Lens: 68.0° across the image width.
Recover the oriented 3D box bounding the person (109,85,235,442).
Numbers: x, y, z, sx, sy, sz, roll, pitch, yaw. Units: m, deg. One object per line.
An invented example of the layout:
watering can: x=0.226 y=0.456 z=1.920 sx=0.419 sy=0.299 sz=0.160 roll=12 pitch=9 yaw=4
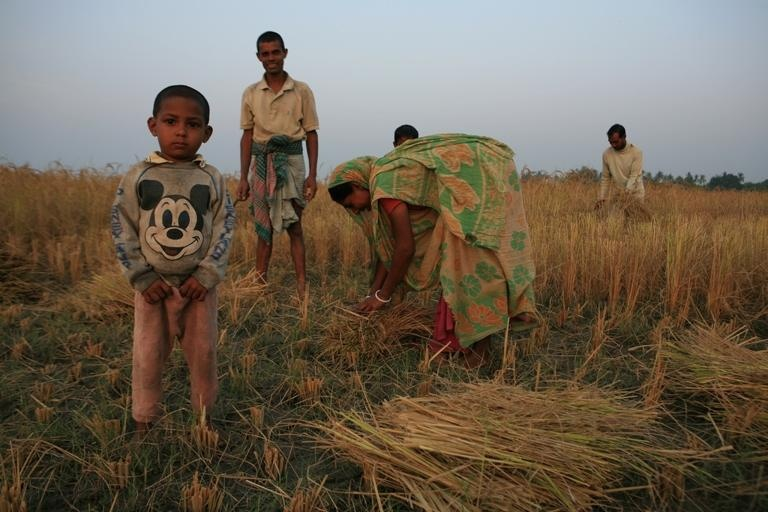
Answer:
person: x=-1.434 y=0.025 z=3.926 sx=0.779 sy=2.324 sz=0.301 roll=-1 pitch=5 yaw=-16

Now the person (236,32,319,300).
person: x=-1.139 y=-0.943 z=6.135 sx=0.851 sy=2.691 sz=0.653 roll=-1 pitch=5 yaw=-13

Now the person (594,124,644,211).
person: x=3.631 y=-1.371 z=8.705 sx=0.649 sy=1.258 sz=1.528 roll=2 pitch=6 yaw=23
